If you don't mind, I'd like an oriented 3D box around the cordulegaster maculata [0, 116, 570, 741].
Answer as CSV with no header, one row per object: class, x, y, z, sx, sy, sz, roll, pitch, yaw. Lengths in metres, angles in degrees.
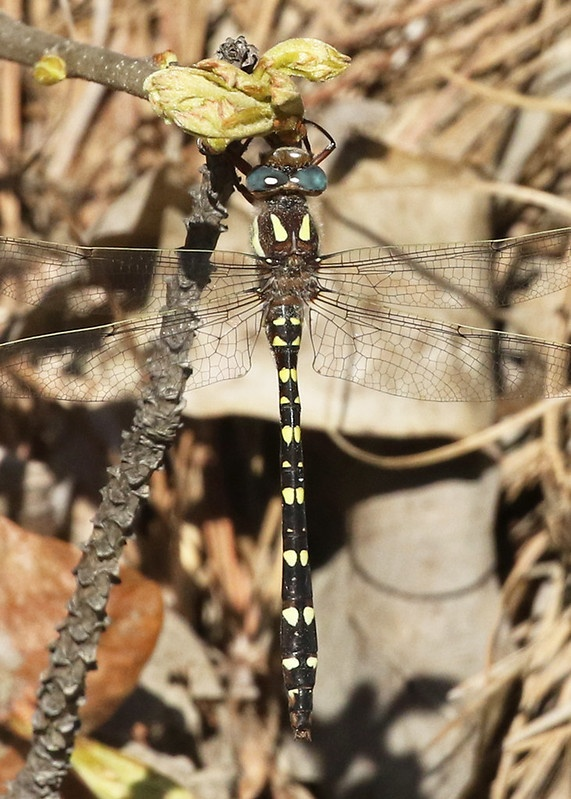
cordulegaster maculata,0.016,0.039,0.854,0.680,0.118,0.537,-3,95,-1
